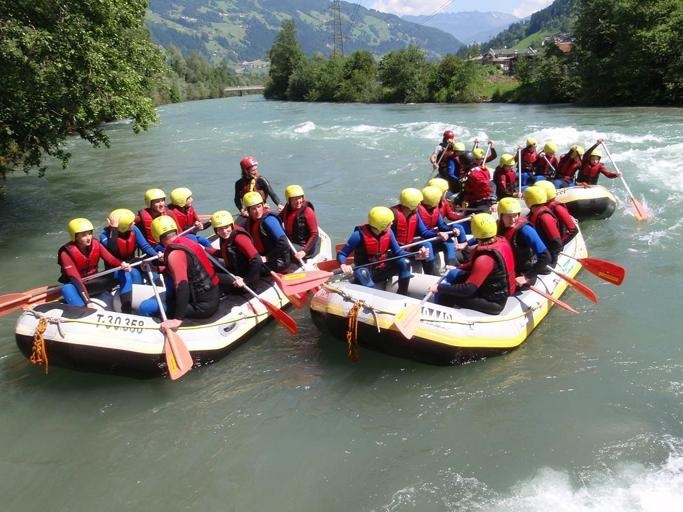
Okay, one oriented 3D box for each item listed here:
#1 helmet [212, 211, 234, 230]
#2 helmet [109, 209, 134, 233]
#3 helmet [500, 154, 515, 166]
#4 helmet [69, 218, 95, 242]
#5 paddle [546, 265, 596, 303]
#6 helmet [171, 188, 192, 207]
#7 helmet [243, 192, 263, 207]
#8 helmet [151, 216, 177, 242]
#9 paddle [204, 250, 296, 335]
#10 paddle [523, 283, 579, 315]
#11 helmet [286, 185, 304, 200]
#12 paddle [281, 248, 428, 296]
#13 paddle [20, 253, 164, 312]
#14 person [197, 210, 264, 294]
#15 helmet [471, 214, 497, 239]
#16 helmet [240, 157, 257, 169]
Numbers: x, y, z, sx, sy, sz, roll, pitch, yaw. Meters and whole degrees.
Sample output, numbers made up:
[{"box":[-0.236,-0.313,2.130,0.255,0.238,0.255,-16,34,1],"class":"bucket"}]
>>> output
[{"box":[-1.914,-0.562,9.038,0.292,0.255,0.357,-17,-9,-14],"class":"helmet"},{"box":[-3.753,-0.588,9.564,0.485,0.338,0.321,12,37,-29],"class":"helmet"},{"box":[4.025,-2.294,13.518,0.396,0.172,0.245,-5,22,4],"class":"helmet"},{"box":[-4.274,-0.410,9.073,0.546,0.344,0.361,4,8,9],"class":"helmet"},{"box":[4.026,0.519,9.908,1.026,0.138,0.161,32,-12,12],"class":"paddle"},{"box":[-3.067,-1.109,10.772,0.465,0.298,0.306,-2,39,-8],"class":"helmet"},{"box":[-1.491,-0.907,9.402,0.248,0.226,0.316,-18,-11,-17],"class":"helmet"},{"box":[-2.663,-0.420,8.556,0.343,0.349,0.426,-9,31,-39],"class":"helmet"},{"box":[-1.535,0.624,9.168,2.313,0.468,0.097,36,52,10],"class":"paddle"},{"box":[3.462,0.740,9.354,0.943,0.121,0.050,34,-6,3],"class":"paddle"},{"box":[-0.838,-1.157,10.372,0.318,0.282,0.403,-14,13,-22],"class":"helmet"},{"box":[0.276,0.294,9.310,2.542,0.360,0.244,-14,-7,-13],"class":"paddle"},{"box":[-4.082,0.525,9.336,1.182,0.416,2.048,12,24,40],"class":"paddle"},{"box":[-1.791,-0.007,9.248,0.857,1.183,0.982,-21,46,-9],"class":"person"},{"box":[2.085,-0.437,8.395,0.359,0.365,0.401,-1,41,-4],"class":"helmet"},{"box":[-1.962,-1.960,11.807,0.283,0.246,0.479,-2,20,-9],"class":"helmet"}]
